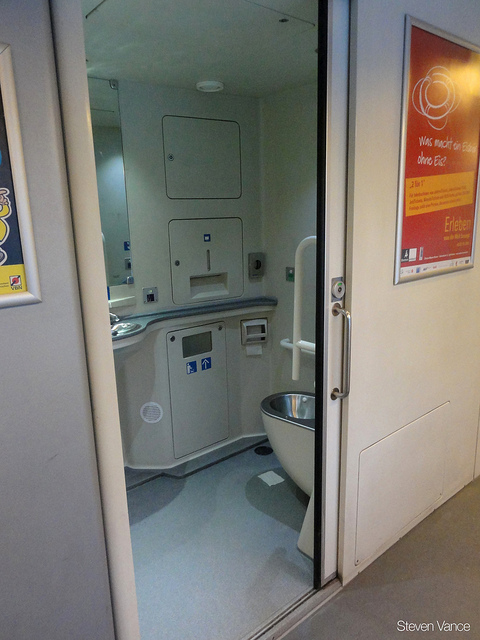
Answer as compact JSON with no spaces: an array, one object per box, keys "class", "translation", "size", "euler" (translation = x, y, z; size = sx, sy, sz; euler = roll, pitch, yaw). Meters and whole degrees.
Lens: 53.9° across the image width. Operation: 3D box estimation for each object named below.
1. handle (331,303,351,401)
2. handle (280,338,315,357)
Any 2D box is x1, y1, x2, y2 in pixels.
[{"class":"handle","translation":[0.355,0.114,1.589],"size":[0.066,0.349,0.087],"euler":[-9,13,-36]},{"class":"handle","translation":[0.322,0.161,2.913],"size":[0.037,0.075,0.392],"euler":[-11,-1,-14]}]
